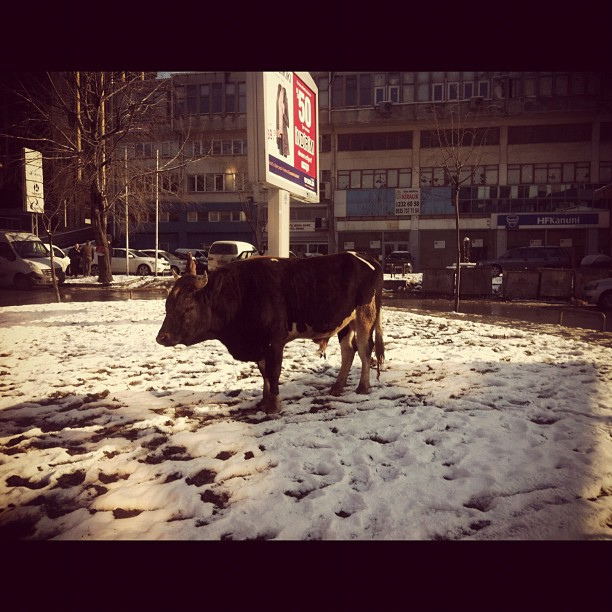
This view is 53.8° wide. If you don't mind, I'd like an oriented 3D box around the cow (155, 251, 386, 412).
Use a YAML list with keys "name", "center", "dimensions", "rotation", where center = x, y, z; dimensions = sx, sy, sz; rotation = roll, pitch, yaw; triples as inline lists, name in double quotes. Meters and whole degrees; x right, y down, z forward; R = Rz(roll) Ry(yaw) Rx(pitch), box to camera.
- name: "cow"
  center: [-0.228, 0.242, 5.827]
  dimensions: [2.497, 1.510, 0.450]
  rotation: [-4, 7, -35]

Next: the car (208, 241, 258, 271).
- name: "car"
  center: [-3.519, -2.569, 28.270]
  dimensions: [1.097, 1.317, 2.184]
  rotation: [3, 11, 26]

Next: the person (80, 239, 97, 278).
- name: "person"
  center: [-10.557, -2.293, 29.209]
  dimensions: [0.549, 1.712, 1.045]
  rotation: [-2, 6, -24]

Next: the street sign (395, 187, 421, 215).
- name: "street sign"
  center: [6.888, -7.171, 40.899]
  dimensions: [1.273, 1.906, 0.166]
  rotation: [0, -1, 8]
